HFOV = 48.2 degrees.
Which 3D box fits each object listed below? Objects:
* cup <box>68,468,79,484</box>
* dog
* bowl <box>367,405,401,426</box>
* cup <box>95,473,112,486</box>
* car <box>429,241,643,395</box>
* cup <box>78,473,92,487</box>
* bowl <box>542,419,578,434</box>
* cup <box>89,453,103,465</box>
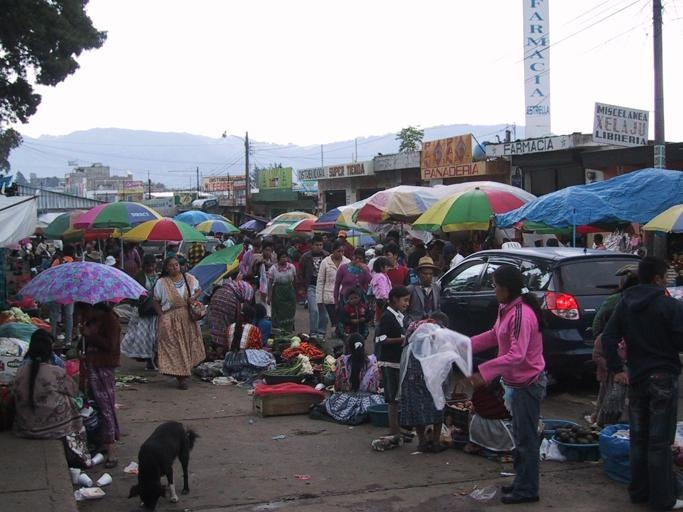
[{"bbox_3d":[-2.859,2.357,8.176,0.106,0.136,0.120,-3,2,-11],"label":"cup"},{"bbox_3d":[-1.723,2.092,7.742,0.343,0.632,1.173,-1,40,8],"label":"dog"},{"bbox_3d":[0.471,2.060,9.856,0.360,0.143,0.370,2,-7,0],"label":"bowl"},{"bbox_3d":[-2.560,2.395,8.197,0.101,0.103,0.082,-1,14,35],"label":"cup"},{"bbox_3d":[2.754,0.707,11.387,1.726,1.309,2.943,-1,4,-24],"label":"car"},{"bbox_3d":[-2.733,2.391,8.153,0.090,0.122,0.124,13,-8,17],"label":"cup"},{"bbox_3d":[2.485,1.984,8.917,0.258,0.092,0.250,-1,-3,0],"label":"bowl"},{"bbox_3d":[-2.816,2.307,8.703,0.113,0.118,0.114,-4,43,4],"label":"cup"}]
